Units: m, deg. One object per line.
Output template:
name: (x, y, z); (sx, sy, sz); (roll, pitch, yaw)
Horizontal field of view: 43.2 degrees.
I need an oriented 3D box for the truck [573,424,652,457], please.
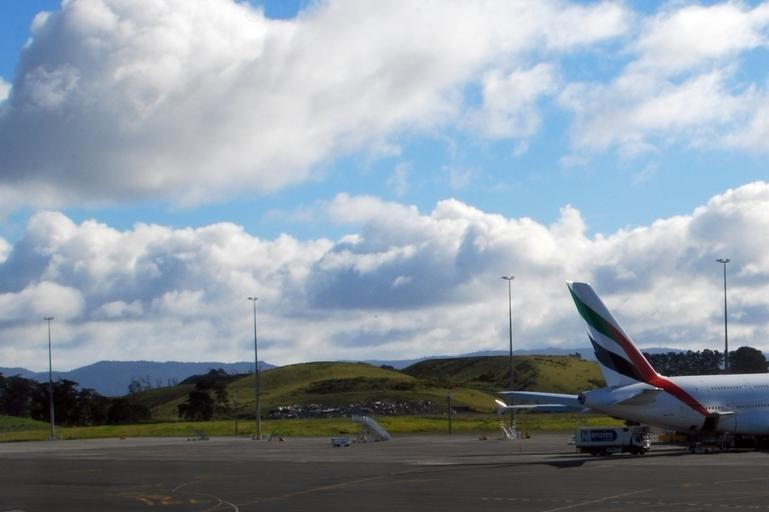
truck: (20.706, 16.768, 88.350); (5.008, 1.937, 3.145); (-2, -3, 5)
